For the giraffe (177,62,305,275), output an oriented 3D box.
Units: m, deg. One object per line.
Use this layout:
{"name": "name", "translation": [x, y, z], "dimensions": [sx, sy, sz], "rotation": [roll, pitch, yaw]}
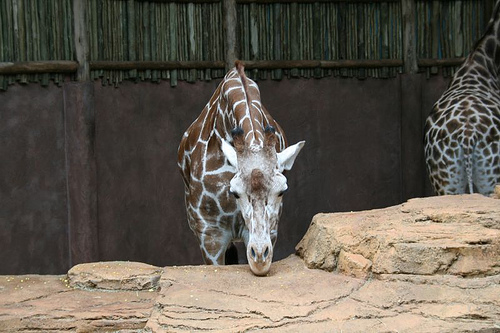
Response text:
{"name": "giraffe", "translation": [-0.208, 0.269, 15.878], "dimensions": [1.347, 3.073, 4.104], "rotation": [0, 14, -9]}
